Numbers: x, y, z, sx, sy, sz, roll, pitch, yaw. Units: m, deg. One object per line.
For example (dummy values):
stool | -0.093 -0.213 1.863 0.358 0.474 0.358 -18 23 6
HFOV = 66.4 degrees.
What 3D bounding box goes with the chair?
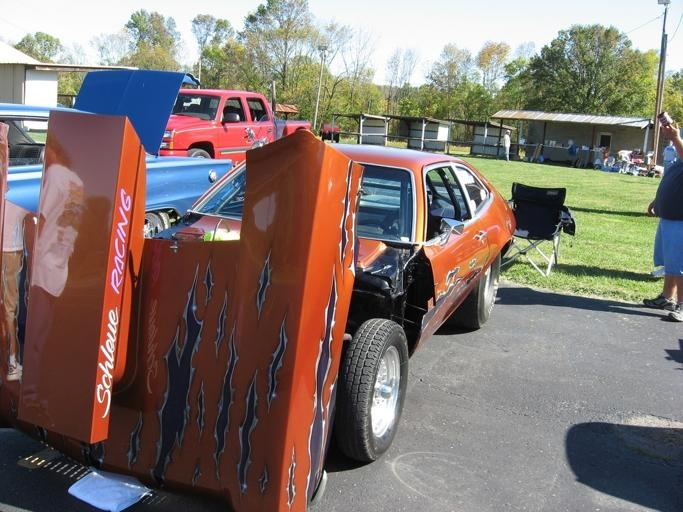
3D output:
chair | 2.772 -0.349 7.638 0.988 1.362 0.853 14 21 30
